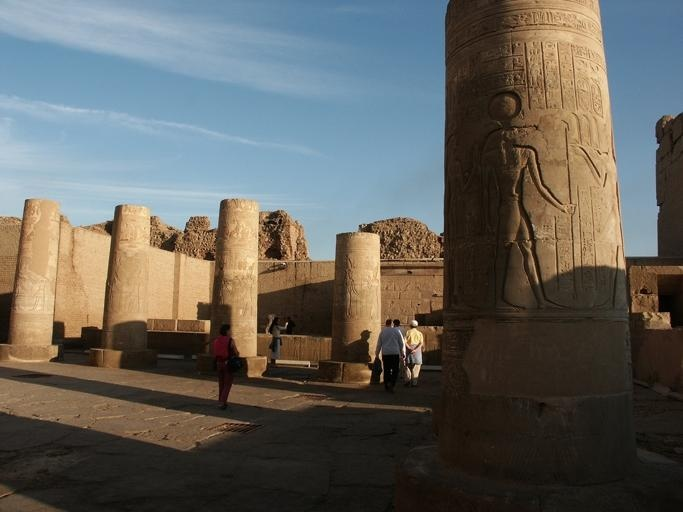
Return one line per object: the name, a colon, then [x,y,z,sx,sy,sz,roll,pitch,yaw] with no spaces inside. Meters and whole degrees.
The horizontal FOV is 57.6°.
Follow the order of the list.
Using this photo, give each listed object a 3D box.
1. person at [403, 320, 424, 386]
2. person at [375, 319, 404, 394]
person: [1.539,2.016,13.159,0.364,1.312,1.106,1,-3,6]
person: [0.972,1.945,12.239,0.578,1.335,1.028,2,-3,4]
